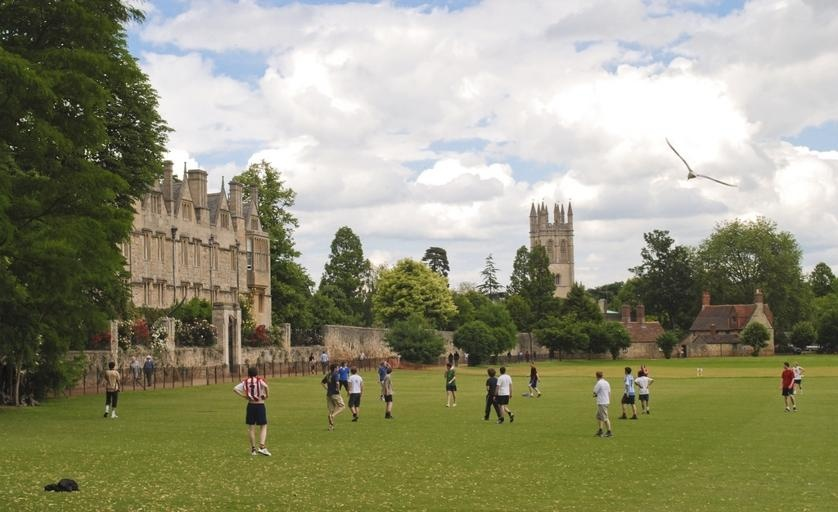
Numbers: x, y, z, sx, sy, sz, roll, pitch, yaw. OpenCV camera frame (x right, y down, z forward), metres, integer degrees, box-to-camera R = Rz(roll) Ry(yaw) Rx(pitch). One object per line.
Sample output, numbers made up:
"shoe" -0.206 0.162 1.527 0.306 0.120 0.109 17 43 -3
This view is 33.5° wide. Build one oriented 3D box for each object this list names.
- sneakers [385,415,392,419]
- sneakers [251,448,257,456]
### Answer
"sneakers" -1.588 8.142 70.591 0.291 0.248 0.174 -4 -5 21
"sneakers" -7.366 8.689 61.650 0.295 0.246 0.630 1 -6 -9
